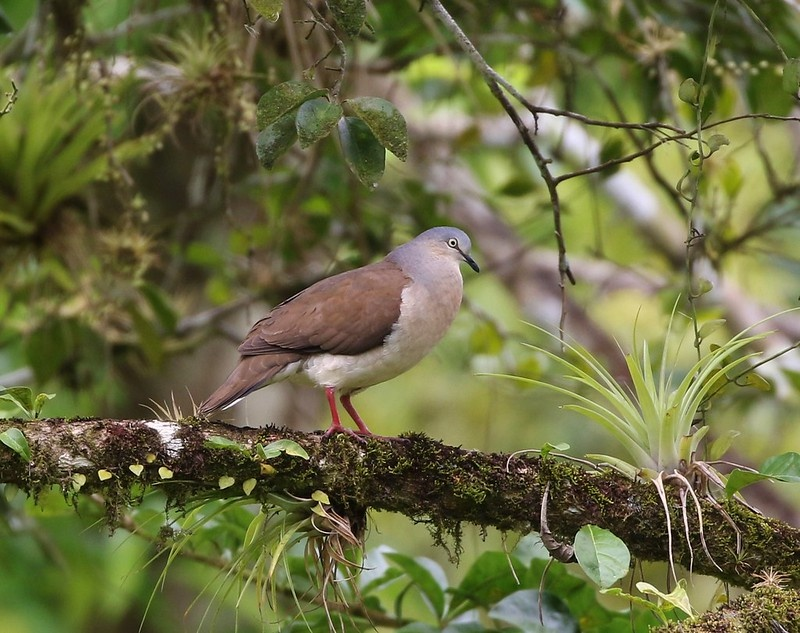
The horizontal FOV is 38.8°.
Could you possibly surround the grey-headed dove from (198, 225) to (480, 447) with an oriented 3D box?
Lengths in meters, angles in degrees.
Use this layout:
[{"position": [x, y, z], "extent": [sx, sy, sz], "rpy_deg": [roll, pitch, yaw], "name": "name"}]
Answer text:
[{"position": [-0.327, 0.097, 5.820], "extent": [1.412, 1.118, 0.551], "rpy_deg": [-1, -10, -7], "name": "grey-headed dove"}]
